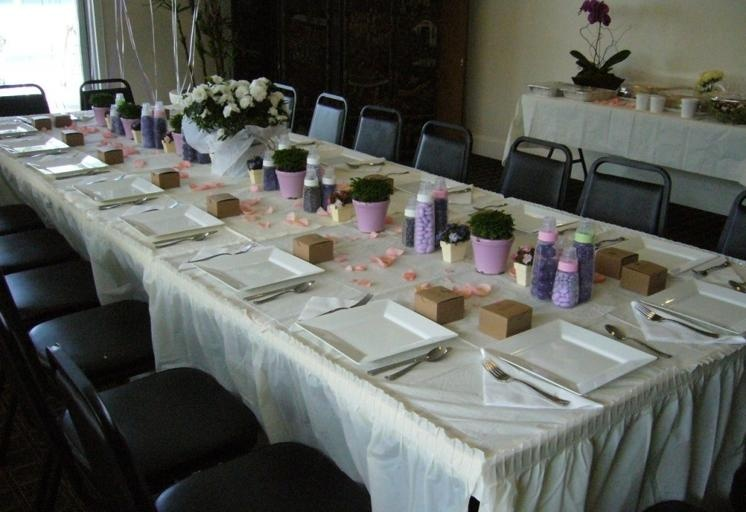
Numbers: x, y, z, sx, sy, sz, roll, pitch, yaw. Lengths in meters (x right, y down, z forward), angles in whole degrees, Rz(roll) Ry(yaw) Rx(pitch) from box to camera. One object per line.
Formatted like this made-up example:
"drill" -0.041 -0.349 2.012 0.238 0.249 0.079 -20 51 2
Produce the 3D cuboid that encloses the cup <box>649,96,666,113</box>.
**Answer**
"cup" 2.425 -1.286 4.498 0.129 0.149 0.133 3 10 0

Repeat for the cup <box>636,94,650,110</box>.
"cup" 2.350 -1.341 4.585 0.127 0.151 0.129 -4 20 2
